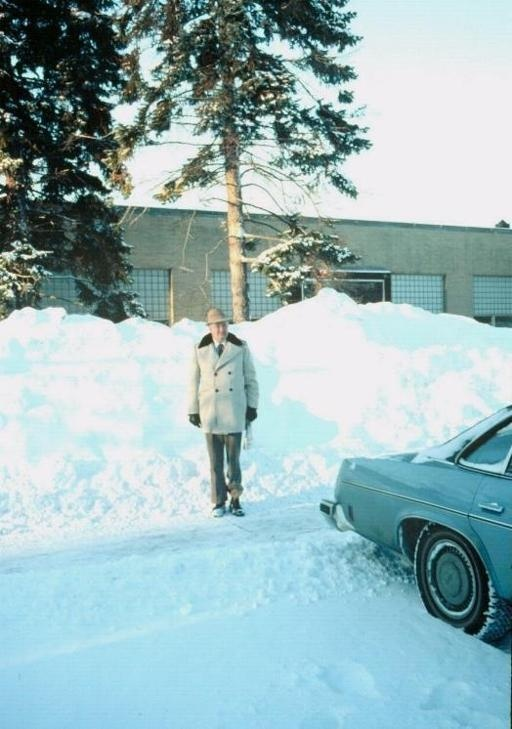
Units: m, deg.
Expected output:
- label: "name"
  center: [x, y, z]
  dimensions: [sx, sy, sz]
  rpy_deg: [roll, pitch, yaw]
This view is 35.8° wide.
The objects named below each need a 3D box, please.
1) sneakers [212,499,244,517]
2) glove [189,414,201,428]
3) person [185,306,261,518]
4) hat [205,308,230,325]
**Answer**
- label: "sneakers"
  center: [-0.227, 1.178, 6.641]
  dimensions: [0.271, 0.141, 0.356]
  rpy_deg: [1, 7, 0]
- label: "glove"
  center: [-0.508, 0.478, 6.701]
  dimensions: [0.085, 0.101, 0.112]
  rpy_deg: [6, -9, -34]
- label: "person"
  center: [-0.280, 0.396, 6.596]
  dimensions: [0.572, 1.671, 0.454]
  rpy_deg: [1, 7, -1]
- label: "hat"
  center: [-0.329, -0.402, 6.622]
  dimensions: [0.136, 0.085, 0.158]
  rpy_deg: [-2, -6, -4]
